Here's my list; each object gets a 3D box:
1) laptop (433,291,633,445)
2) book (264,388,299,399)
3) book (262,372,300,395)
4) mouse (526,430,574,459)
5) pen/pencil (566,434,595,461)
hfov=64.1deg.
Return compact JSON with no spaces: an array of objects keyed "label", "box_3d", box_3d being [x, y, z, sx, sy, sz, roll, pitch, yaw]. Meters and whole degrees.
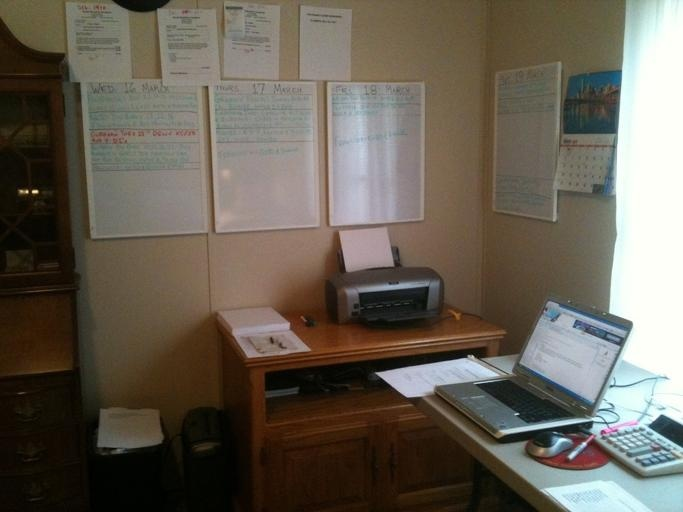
[{"label":"laptop","box_3d":[0.641,0.362,1.895,0.571,0.350,0.553,-7,8,-29]},{"label":"book","box_3d":[-0.289,0.648,2.575,0.105,0.025,0.106,0,-2,-29]},{"label":"book","box_3d":[-0.284,0.611,2.610,0.143,0.032,0.131,-1,15,-10]},{"label":"mouse","box_3d":[0.625,0.559,1.666,0.113,0.036,0.071,-10,14,-30]},{"label":"pen/pencil","box_3d":[0.732,0.589,1.671,0.019,0.025,0.175,3,14,38]}]
